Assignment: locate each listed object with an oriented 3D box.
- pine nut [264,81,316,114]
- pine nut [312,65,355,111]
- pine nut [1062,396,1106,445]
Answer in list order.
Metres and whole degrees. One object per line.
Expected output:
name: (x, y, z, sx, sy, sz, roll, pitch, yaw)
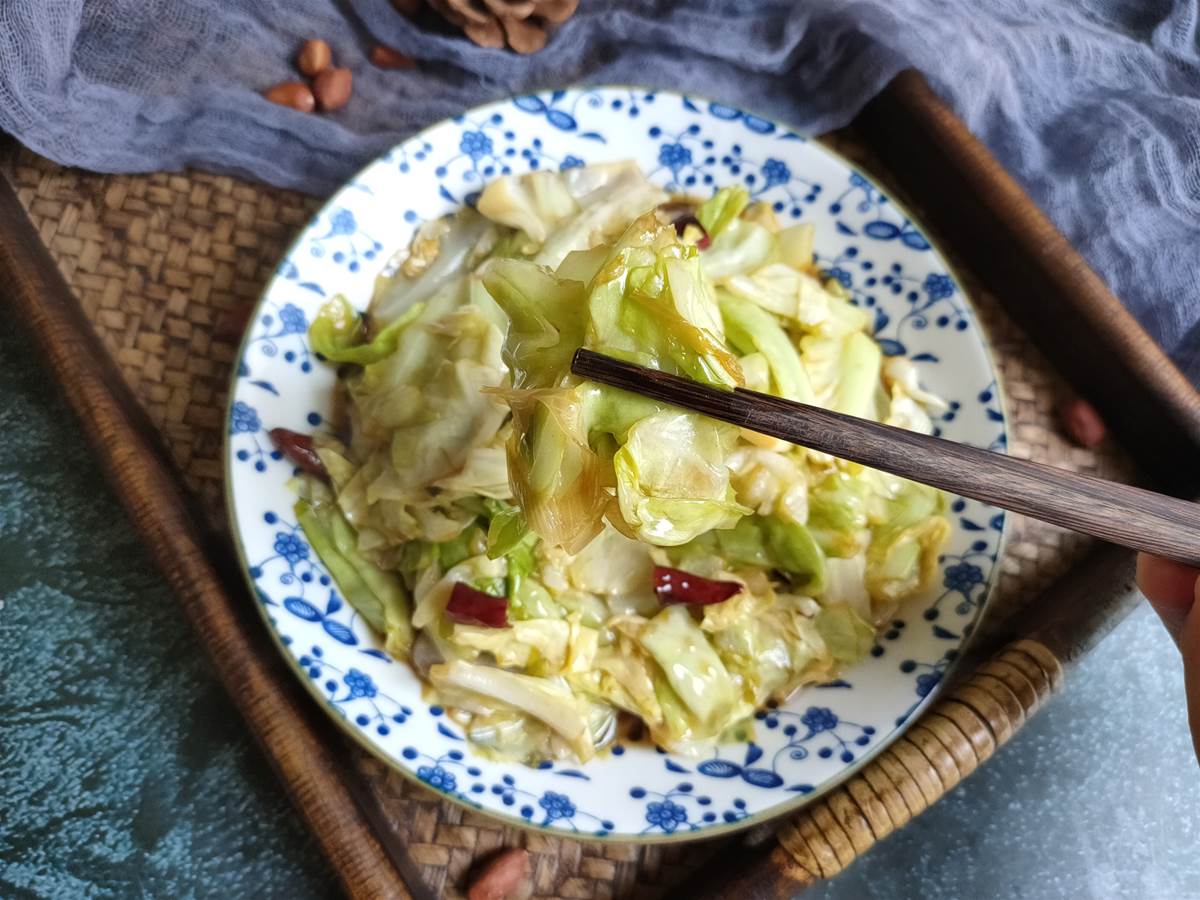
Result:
pine nut: (-0.892, -1.018, 3.583, 0.115, 0.062, 0.095, 0, 40, -1)
pine nut: (-0.783, -1.039, 3.641, 0.092, 0.130, 0.073, 16, 3, 1)
pine nut: (1.312, -0.075, 3.386, 0.103, 0.127, 0.050, -9, -1, -26)
